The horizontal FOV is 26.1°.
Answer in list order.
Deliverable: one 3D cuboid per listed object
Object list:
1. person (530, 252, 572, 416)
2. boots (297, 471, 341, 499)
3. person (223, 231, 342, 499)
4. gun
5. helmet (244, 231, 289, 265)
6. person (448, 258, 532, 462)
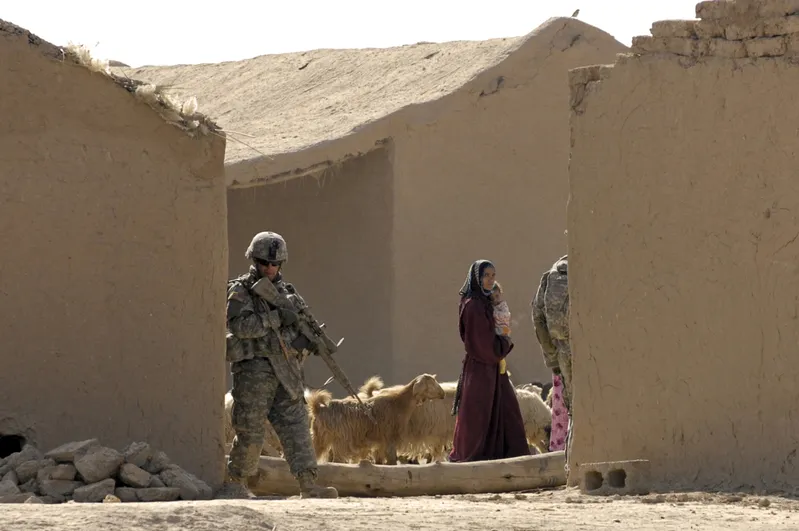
[{"bbox_3d":[1.259,0.533,14.215,0.290,1.235,0.661,1,6,2],"label":"person"},{"bbox_3d":[-0.600,1.744,13.571,0.410,0.275,0.149,-9,-9,20],"label":"boots"},{"bbox_3d":[-1.004,0.792,13.739,0.771,2.060,0.691,0,7,-3],"label":"person"},{"bbox_3d":[-0.748,0.821,16.283,0.525,1.806,0.202,-42,8,-15],"label":"gun"},{"bbox_3d":[-1.075,-0.178,13.904,0.310,0.239,0.311,7,-8,-30],"label":"helmet"},{"bbox_3d":[0.800,0.871,15.172,0.674,1.786,0.640,1,6,1],"label":"person"}]
